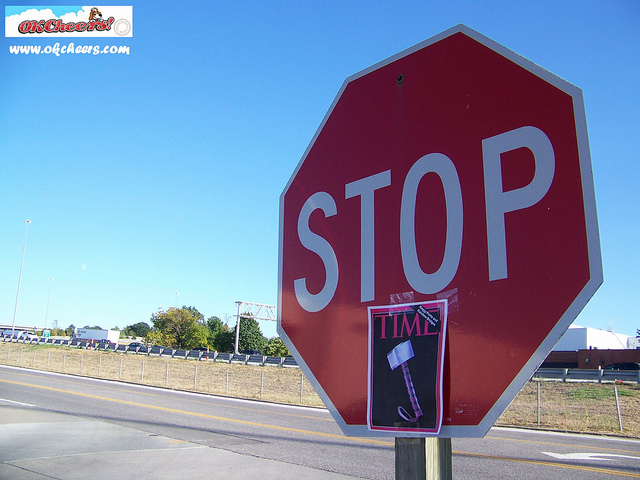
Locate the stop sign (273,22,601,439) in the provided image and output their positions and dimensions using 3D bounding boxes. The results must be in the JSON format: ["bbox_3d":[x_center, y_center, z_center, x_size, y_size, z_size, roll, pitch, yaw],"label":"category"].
[{"bbox_3d":[0.361,-0.025,2.027,1.206,1.502,0.150,-6,-14,37],"label":"stop sign"}]
